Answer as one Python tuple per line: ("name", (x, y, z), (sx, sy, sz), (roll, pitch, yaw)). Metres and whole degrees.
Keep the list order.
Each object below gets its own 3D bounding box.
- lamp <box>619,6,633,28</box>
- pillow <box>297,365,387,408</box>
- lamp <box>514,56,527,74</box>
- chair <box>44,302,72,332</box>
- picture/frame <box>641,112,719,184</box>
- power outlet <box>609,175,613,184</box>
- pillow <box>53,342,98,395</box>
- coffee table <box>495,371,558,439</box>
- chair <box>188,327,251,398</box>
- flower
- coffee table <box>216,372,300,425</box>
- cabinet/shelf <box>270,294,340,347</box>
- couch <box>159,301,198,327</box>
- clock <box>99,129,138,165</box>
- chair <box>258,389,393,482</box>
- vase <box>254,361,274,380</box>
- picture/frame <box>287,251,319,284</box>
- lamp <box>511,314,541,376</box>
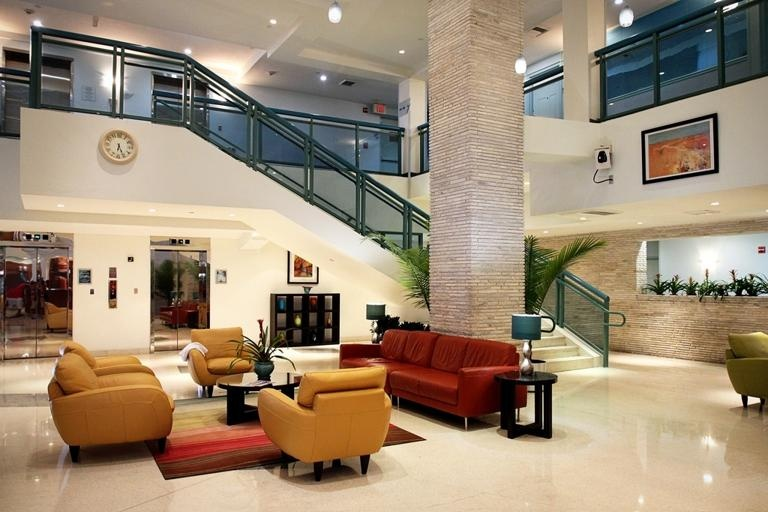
("lamp", (3.760, -3.785, 8.110), (0.158, 0.351, 0.409), (2, 5, 28))
("pillow", (-0.513, 1.678, 6.706), (1.008, 0.357, 0.946), (-1, -6, -16))
("lamp", (2.526, -3.563, 9.662), (0.164, 0.340, 0.690), (1, 4, 19))
("chair", (-8.959, 1.620, 14.189), (0.802, 0.846, 0.677), (2, -2, -27))
("picture/frame", (5.434, -1.991, 9.514), (0.065, 1.204, 1.478), (5, -6, -43))
("power outlet", (4.516, -1.571, 10.415), (0.085, 0.139, 0.046), (0, 2, 20))
("pillow", (-4.238, 1.571, 7.203), (0.533, 0.481, 1.339), (0, 13, -26))
("coffee table", (2.156, 2.269, 8.152), (0.984, 0.817, 0.926), (0, -4, -1))
("chair", (-3.083, 2.004, 10.241), (1.445, 1.247, 1.220), (2, -8, -25))
("flower", (-2.379, 1.696, 9.577), (1.683, 0.905, 1.655), (2, -9, -4))
("coffee table", (-2.064, 2.214, 8.471), (1.097, 0.508, 1.078), (1, -2, -6))
("cabinet/shelf", (-2.045, 1.791, 15.515), (2.150, 1.594, 0.685), (-2, 4, 25))
("couch", (-5.829, 1.654, 14.923), (0.721, 0.736, 1.012), (6, -6, -39))
("clock", (-4.800, -1.936, 9.533), (0.593, 0.600, 0.607), (-23, -2, -35))
("chair", (-0.812, 2.093, 6.921), (1.387, 1.031, 1.205), (1, 0, -28))
("vase", (-1.987, 1.856, 8.727), (0.310, 0.287, 0.302), (-1, 3, -33))
("picture/frame", (-2.336, 0.286, 14.854), (1.000, 1.112, 0.075), (-1, -8, -22))
("lamp", (2.318, 1.359, 8.544), (0.434, 0.972, 1.134), (1, 4, 15))
